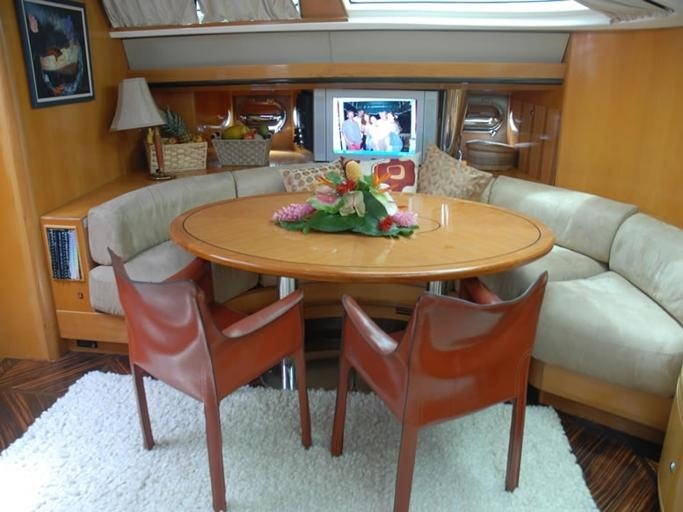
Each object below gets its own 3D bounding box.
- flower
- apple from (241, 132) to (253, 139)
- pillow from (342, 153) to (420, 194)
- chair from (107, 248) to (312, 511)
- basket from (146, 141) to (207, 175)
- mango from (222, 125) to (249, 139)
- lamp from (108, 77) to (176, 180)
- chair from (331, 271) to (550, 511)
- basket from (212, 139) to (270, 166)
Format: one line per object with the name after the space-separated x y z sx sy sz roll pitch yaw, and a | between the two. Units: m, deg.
0.026 -0.222 2.561 0.446 0.202 0.436 6 19 12 | flower
-0.670 -0.870 3.840 0.050 0.051 0.051 13 28 33 | apple
0.350 -0.555 3.628 0.373 0.264 0.126 -3 1 -21 | pillow
-0.560 0.562 2.302 0.623 0.968 0.600 18 30 32 | chair
-1.225 -0.701 3.865 0.493 0.211 0.502 1 9 24 | basket
-0.770 -0.906 3.915 0.116 0.097 0.156 -21 19 -19 | mango
-1.313 -0.856 3.654 0.328 0.685 0.386 -21 28 -26 | lamp
0.414 0.590 2.183 0.604 0.907 0.568 -9 30 -20 | chair
-0.702 -0.747 3.855 0.282 0.125 0.227 -2 23 -6 | basket
